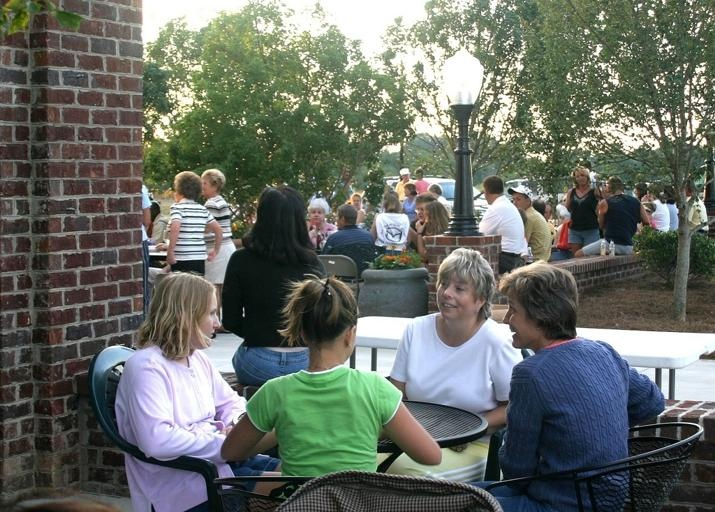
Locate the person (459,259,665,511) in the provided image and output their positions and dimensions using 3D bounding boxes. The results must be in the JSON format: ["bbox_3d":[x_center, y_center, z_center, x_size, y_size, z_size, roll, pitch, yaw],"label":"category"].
[{"bbox_3d":[1.242,0.617,4.573,0.962,1.517,0.985,-2,2,-30],"label":"person"}]

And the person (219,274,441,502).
[{"bbox_3d":[-0.130,0.725,4.250,1.126,1.182,0.708,1,-6,4],"label":"person"}]

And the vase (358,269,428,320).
[{"bbox_3d":[0.404,0.435,9.729,0.606,0.497,0.612,2,-6,-17],"label":"vase"}]

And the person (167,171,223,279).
[{"bbox_3d":[-1.872,-0.353,9.609,0.393,1.044,0.844,1,-1,15],"label":"person"}]

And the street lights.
[{"bbox_3d":[1.185,-1.309,9.782,0.438,1.557,0.489,1,-1,7],"label":"street lights"}]

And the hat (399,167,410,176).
[{"bbox_3d":[0.997,-1.804,18.274,0.307,0.110,0.315,-1,4,-2],"label":"hat"}]

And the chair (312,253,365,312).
[{"bbox_3d":[-0.377,0.274,10.338,0.478,0.865,0.572,-1,-2,12],"label":"chair"}]
